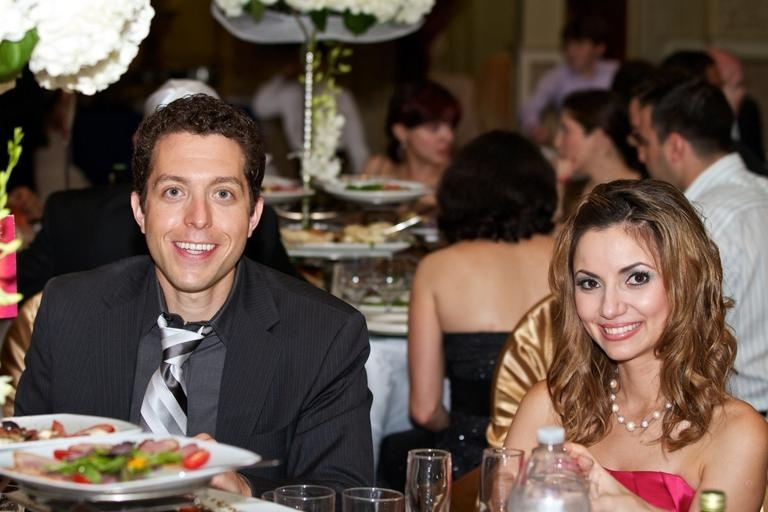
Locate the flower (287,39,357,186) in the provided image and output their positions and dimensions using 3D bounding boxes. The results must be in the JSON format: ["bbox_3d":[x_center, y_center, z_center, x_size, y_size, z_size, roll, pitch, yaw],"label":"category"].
[{"bbox_3d":[-0.301,-0.704,3.587,0.141,0.522,0.164,31,14,34],"label":"flower"}]

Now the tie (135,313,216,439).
[{"bbox_3d":[-0.552,0.313,1.912,0.184,0.321,0.122,-2,0,-11],"label":"tie"}]

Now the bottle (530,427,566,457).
[{"bbox_3d":[0.316,0.356,1.399,0.057,0.065,0.058,0,-2,-5],"label":"bottle"}]

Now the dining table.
[{"bbox_3d":[0.036,0.441,3.375,0.812,0.858,0.772,-3,2,-4],"label":"dining table"}]
